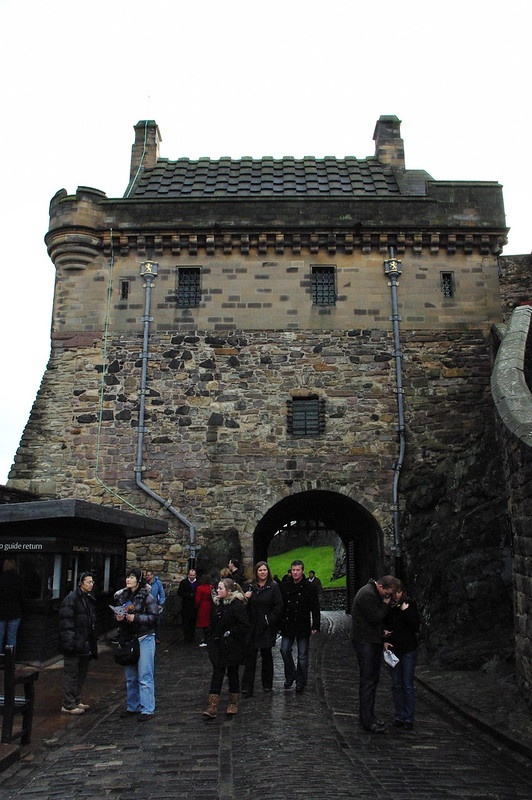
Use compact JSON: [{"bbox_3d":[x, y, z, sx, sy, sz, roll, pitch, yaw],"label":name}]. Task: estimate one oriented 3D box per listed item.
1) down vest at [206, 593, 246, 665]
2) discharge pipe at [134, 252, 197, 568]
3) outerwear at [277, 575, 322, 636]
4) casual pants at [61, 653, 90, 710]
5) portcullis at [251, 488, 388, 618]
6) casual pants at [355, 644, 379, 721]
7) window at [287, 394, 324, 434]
[{"bbox_3d":[-0.360,2.173,6.272,0.325,0.634,0.460,11,-19,-44],"label":"down vest"},{"bbox_3d":[-2.339,0.023,15.494,1.645,7.116,0.433,5,-17,-14],"label":"discharge pipe"},{"bbox_3d":[0.391,2.406,7.724,0.450,0.698,0.797,0,-16,2],"label":"outerwear"},{"bbox_3d":[-1.867,2.754,6.449,0.204,0.515,0.403,-2,-16,8],"label":"casual pants"},{"bbox_3d":[1.105,4.014,17.530,3.909,3.291,2.815,0,-17,-10],"label":"portcullis"},{"bbox_3d":[0.908,2.511,5.839,0.219,0.721,0.270,-2,-16,9],"label":"casual pants"},{"bbox_3d":[0.920,0.331,15.385,0.793,0.917,0.235,-1,-11,0],"label":"window"}]
